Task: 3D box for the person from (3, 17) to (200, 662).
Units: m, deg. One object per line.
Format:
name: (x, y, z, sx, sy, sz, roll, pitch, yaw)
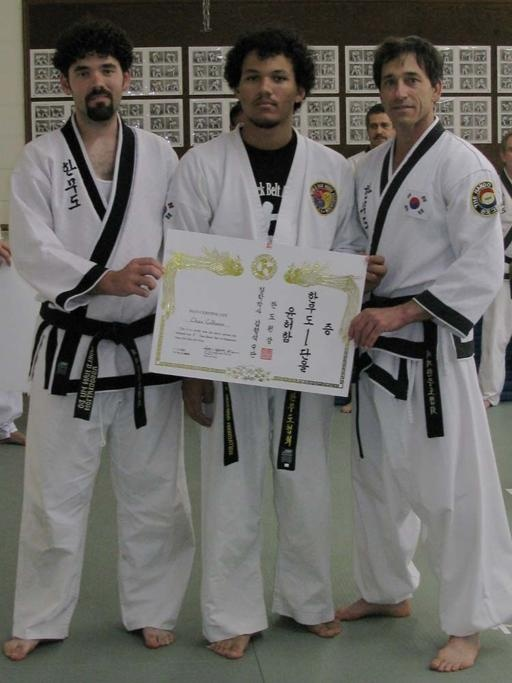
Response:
person: (-0.443, -0.002, 1.923, 0.462, 1.707, 0.472, 1, 5, 11)
